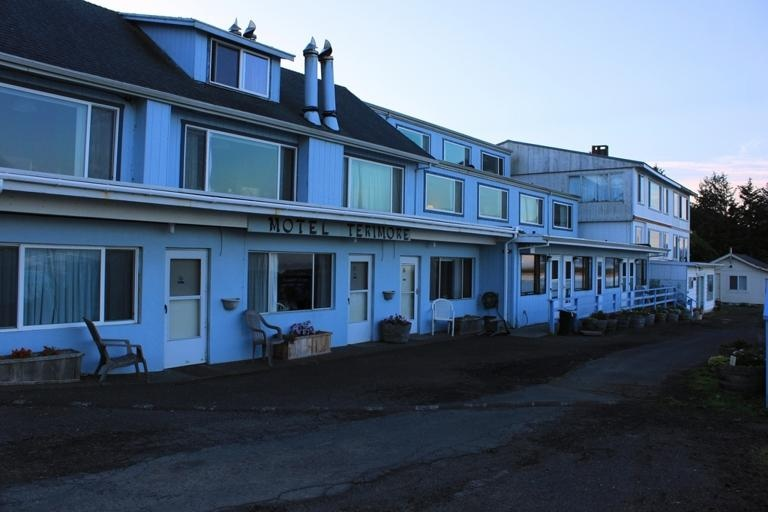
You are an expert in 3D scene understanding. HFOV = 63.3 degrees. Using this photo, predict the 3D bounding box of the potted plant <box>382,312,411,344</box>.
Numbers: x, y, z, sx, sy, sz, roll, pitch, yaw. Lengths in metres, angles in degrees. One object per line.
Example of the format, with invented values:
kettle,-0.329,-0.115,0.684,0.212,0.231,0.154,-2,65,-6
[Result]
potted plant,0.360,2.269,19.221,0.874,0.552,0.686,6,-9,-37

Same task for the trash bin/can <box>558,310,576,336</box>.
trash bin/can,6.620,2.348,22.363,0.459,0.878,1.176,7,8,38

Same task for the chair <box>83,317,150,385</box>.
chair,-5.854,2.051,13.546,1.268,1.173,0.957,5,-4,-35
